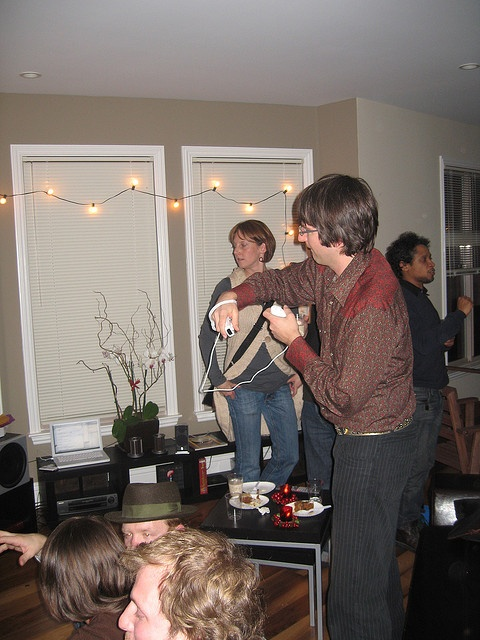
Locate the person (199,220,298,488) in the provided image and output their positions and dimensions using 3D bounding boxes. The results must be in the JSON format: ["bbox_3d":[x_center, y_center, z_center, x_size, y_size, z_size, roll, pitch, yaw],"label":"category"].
[{"bbox_3d":[0.082,0.324,3.016,0.590,1.781,0.538,-2,13,0],"label":"person"}]

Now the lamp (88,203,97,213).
[{"bbox_3d":[-1.027,-0.787,3.684,0.059,0.079,0.059,17,26,35],"label":"lamp"}]

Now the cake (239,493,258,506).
[{"bbox_3d":[0.035,0.769,2.287,0.066,0.028,0.051,-3,7,-22],"label":"cake"}]

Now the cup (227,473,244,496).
[{"bbox_3d":[-0.015,0.722,2.305,0.073,0.080,0.074,0,-4,0],"label":"cup"}]

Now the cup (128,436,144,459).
[{"bbox_3d":[-0.666,0.814,3.365,0.115,0.117,0.108,2,10,0],"label":"cup"}]

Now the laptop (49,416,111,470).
[{"bbox_3d":[-1.026,0.720,3.353,0.352,0.246,0.287,-3,7,-27],"label":"laptop"}]

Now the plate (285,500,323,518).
[{"bbox_3d":[0.284,0.790,2.198,0.093,0.026,0.090,-3,4,2],"label":"plate"}]

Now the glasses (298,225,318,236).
[{"bbox_3d":[0.193,-0.262,1.515,0.018,0.029,0.090,-7,3,-21],"label":"glasses"}]

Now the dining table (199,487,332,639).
[{"bbox_3d":[0.169,0.973,2.312,0.592,0.572,0.606,-1,-3,16],"label":"dining table"}]

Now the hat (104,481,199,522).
[{"bbox_3d":[-0.325,0.587,1.709,0.194,0.072,0.170,-15,-14,42],"label":"hat"}]

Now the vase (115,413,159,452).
[{"bbox_3d":[-0.716,0.713,3.548,0.384,0.266,0.215,1,-3,-29],"label":"vase"}]

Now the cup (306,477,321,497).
[{"bbox_3d":[0.333,0.744,2.365,0.070,0.102,0.068,1,-6,0],"label":"cup"}]

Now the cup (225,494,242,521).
[{"bbox_3d":[-0.050,0.787,2.207,0.072,0.092,0.065,-2,-6,0],"label":"cup"}]
